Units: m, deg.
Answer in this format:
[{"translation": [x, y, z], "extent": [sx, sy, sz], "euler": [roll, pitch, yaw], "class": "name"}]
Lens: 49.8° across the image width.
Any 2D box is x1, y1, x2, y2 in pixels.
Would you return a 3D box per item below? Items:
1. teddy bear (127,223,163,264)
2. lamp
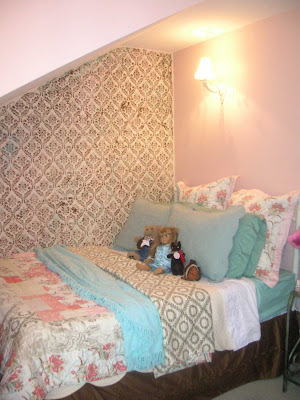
[{"translation": [-0.036, 0.325, 2.528], "extent": [0.230, 0.286, 0.222], "euler": [5, 3, 30], "class": "teddy bear"}, {"translation": [0.487, -1.028, 2.760], "extent": [0.247, 0.384, 0.230], "euler": [-2, 11, -18], "class": "lamp"}]
